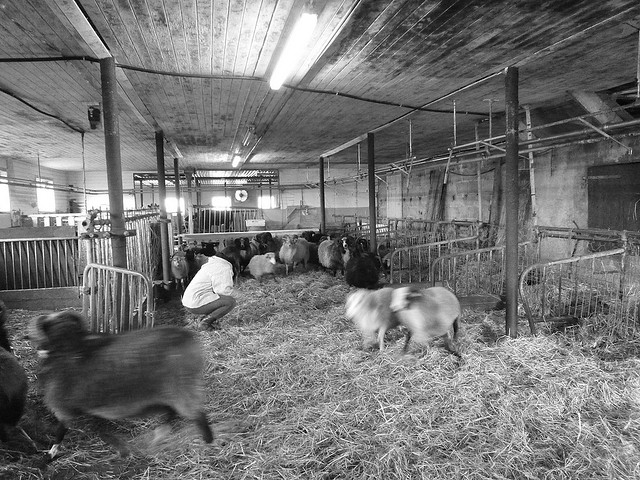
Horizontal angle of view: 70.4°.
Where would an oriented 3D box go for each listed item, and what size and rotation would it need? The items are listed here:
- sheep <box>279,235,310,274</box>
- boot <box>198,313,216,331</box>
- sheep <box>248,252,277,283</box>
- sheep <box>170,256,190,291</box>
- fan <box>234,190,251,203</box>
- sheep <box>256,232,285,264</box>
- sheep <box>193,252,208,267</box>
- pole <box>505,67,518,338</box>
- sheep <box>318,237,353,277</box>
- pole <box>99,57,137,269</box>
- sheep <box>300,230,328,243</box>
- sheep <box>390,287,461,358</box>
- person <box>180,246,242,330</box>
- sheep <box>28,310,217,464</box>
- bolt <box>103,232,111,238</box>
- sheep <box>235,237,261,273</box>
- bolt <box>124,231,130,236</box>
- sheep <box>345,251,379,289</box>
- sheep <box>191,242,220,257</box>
[{"bbox_3d":[-0.568,0.296,9.905,0.603,0.781,1.019,-3,3,-4],"label":"sheep"},{"bbox_3d":[-1.489,1.097,6.005,0.235,0.150,0.229,-18,-35,-26],"label":"boot"},{"bbox_3d":[-1.186,0.522,9.266,0.510,0.505,0.700,-3,3,-9],"label":"sheep"},{"bbox_3d":[-2.562,0.588,8.353,0.327,0.619,0.973,-3,4,-13],"label":"sheep"},{"bbox_3d":[-3.433,-1.918,20.069,0.681,0.562,0.322,-3,3,-8],"label":"fan"},{"bbox_3d":[-1.315,0.090,11.347,0.550,0.738,1.443,-3,6,-2],"label":"sheep"},{"bbox_3d":[-2.337,0.401,8.968,0.298,0.289,0.357,0,-5,-14],"label":"sheep"},{"bbox_3d":[2.146,-0.428,5.155,0.159,3.047,0.251,-1,3,22],"label":"pole"},{"bbox_3d":[0.316,0.323,9.474,0.407,0.748,1.065,-3,3,-20],"label":"sheep"},{"bbox_3d":[-2.430,-0.947,5.512,0.282,2.581,0.667,-4,3,-25],"label":"pole"},{"bbox_3d":[-0.246,-0.082,11.747,0.290,0.249,0.511,-9,13,-14],"label":"sheep"},{"bbox_3d":[1.139,0.878,4.923,0.822,0.790,0.370,-3,3,-20],"label":"sheep"},{"bbox_3d":[-1.468,0.691,6.280,1.003,0.976,0.746,-15,7,-40],"label":"person"},{"bbox_3d":[-1.667,1.278,3.785,1.233,0.904,0.465,2,9,-4],"label":"sheep"},{"bbox_3d":[-2.508,-0.060,5.372,0.084,0.054,0.025,-4,3,-34],"label":"bolt"},{"bbox_3d":[-1.704,0.223,10.445,0.376,0.675,1.326,-9,8,0],"label":"sheep"},{"bbox_3d":[-2.326,-0.081,5.480,0.063,0.060,0.014,0,1,-22],"label":"bolt"},{"bbox_3d":[0.709,0.551,8.018,0.407,0.367,0.718,0,-7,-4],"label":"sheep"},{"bbox_3d":[-2.331,0.197,9.357,0.650,0.348,0.303,4,2,44],"label":"sheep"}]
